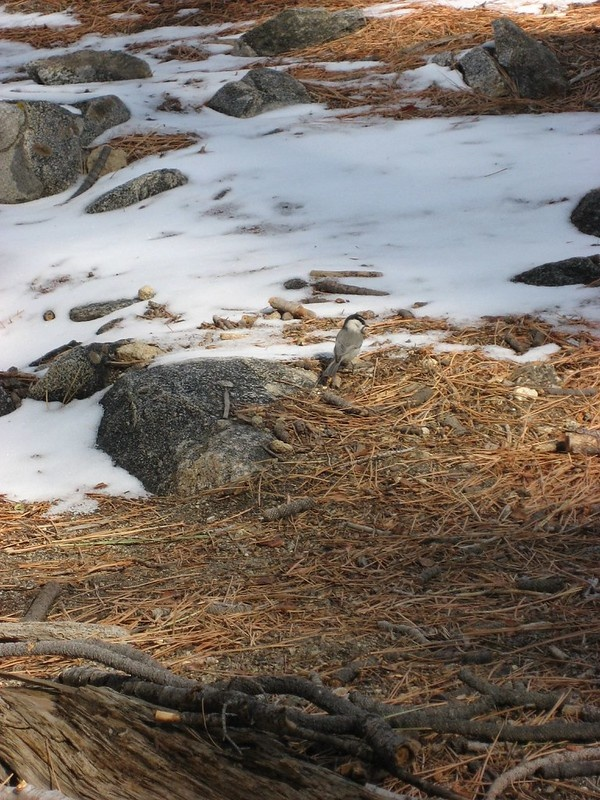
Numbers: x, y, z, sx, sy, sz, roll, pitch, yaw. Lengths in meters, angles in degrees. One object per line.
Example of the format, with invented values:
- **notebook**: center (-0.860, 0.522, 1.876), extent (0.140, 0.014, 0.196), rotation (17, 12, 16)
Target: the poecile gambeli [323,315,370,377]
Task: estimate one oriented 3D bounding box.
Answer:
- **poecile gambeli**: center (0.302, -0.329, 6.605), extent (0.186, 0.289, 0.486), rotation (30, 49, 14)
